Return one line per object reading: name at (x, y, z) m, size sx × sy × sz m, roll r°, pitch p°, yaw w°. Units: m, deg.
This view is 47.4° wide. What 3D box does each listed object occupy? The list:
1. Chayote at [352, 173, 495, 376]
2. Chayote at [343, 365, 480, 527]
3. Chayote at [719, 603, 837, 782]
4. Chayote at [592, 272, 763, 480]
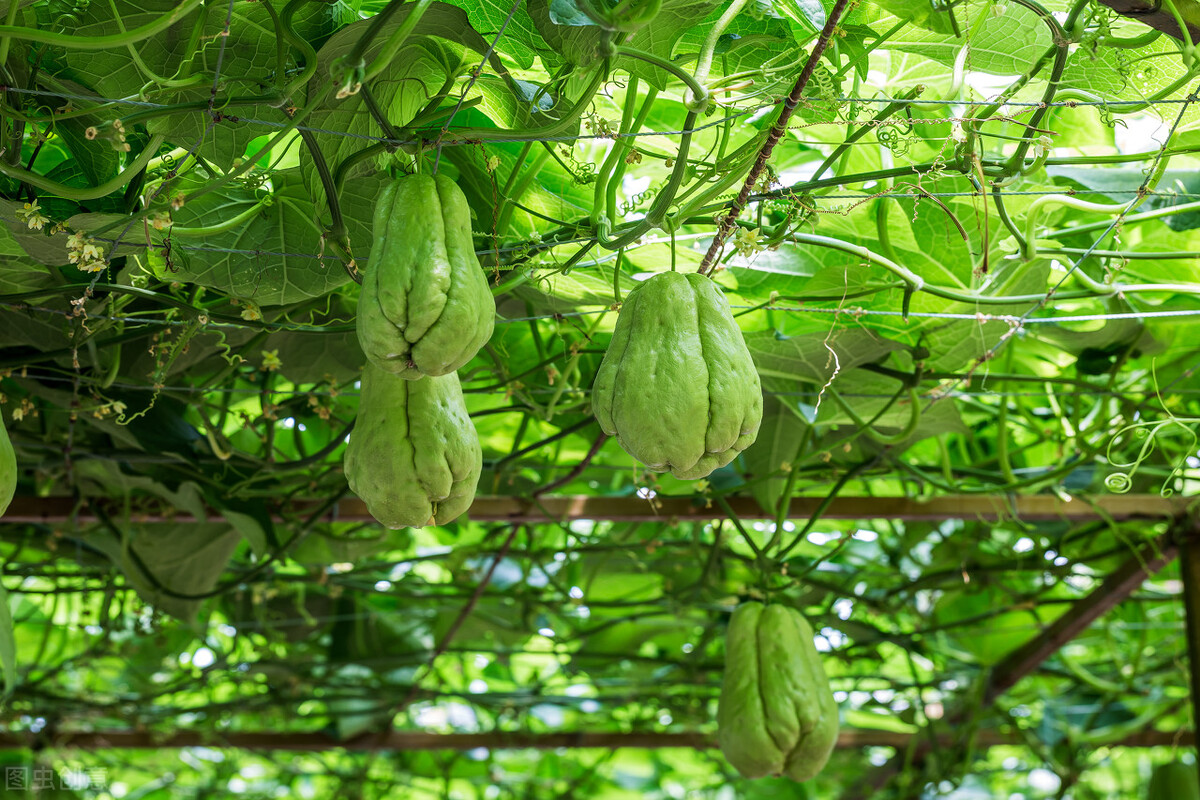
Chayote at (-0.321, -0.235, 2.504) m, size 0.241 × 0.374 × 0.069 m, roll -2°, pitch -5°, yaw -1°
Chayote at (-0.370, 0.086, 2.697) m, size 0.261 × 0.316 × 0.076 m, roll -2°, pitch -5°, yaw -7°
Chayote at (0.393, 0.640, 3.038) m, size 0.254 × 0.376 × 0.186 m, roll -3°, pitch -5°, yaw 6°
Chayote at (0.071, -0.064, 2.702) m, size 0.481 × 0.382 × 0.353 m, roll 3°, pitch 3°, yaw -9°
